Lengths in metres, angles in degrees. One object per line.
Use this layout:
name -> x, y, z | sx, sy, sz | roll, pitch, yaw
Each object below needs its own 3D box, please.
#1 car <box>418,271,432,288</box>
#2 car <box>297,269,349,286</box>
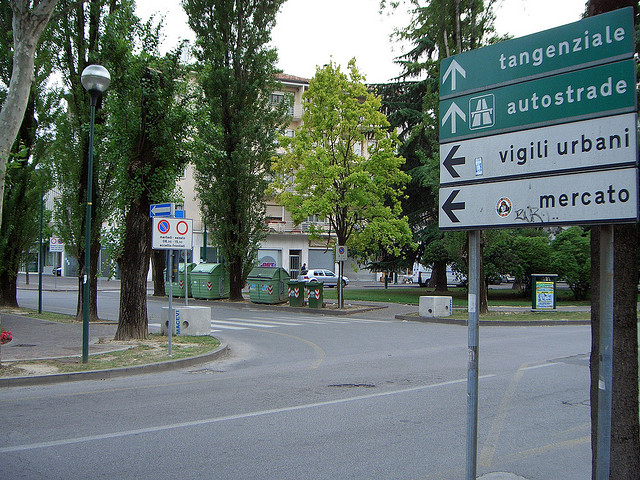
car -> 9.385, 3.477, 57.398 | 1.434, 0.974, 1.001 | -4, 3, -10
car -> -0.097, 3.528, 54.627 | 3.223, 1.284, 1.745 | -1, 1, -18
